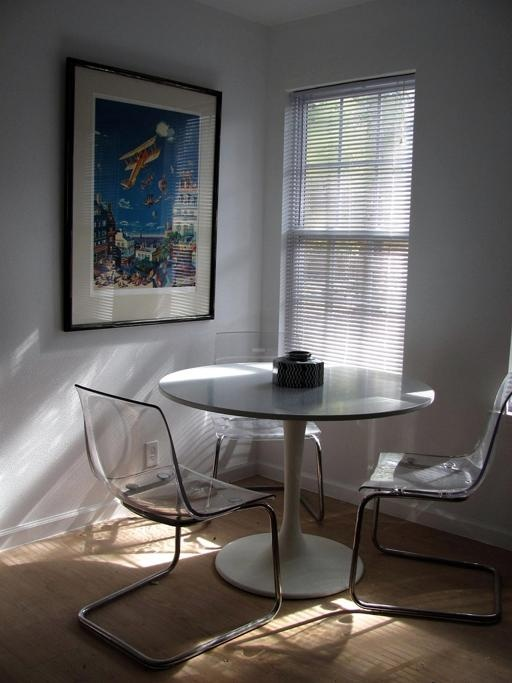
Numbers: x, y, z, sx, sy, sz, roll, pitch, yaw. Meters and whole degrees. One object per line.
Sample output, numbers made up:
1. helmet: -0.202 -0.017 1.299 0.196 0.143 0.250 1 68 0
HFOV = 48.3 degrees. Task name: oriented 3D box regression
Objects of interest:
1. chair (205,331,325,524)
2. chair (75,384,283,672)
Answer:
1. chair: -0.043 0.437 2.697 0.542 0.768 0.485 3 -6 -10
2. chair: -0.242 0.516 1.828 0.532 0.767 0.555 3 6 31
